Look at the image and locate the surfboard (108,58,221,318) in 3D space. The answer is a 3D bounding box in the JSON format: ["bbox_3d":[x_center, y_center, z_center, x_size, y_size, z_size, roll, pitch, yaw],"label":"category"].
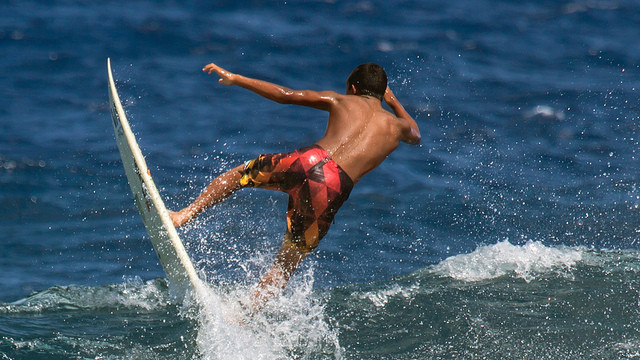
[{"bbox_3d":[-3.044,0.352,21.424,0.606,6.186,0.736,-17,-25,-42],"label":"surfboard"}]
